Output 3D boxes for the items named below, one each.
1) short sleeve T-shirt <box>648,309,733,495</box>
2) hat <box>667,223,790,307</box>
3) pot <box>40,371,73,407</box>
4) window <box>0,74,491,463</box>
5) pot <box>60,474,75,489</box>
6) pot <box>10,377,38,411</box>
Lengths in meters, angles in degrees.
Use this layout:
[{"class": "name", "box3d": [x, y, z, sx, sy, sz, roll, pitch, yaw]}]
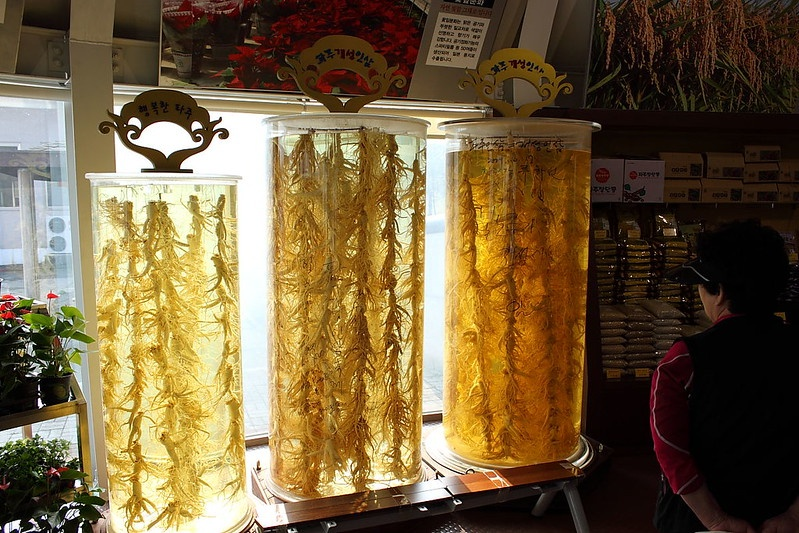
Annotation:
[{"class": "short sleeve T-shirt", "box3d": [0.980, 0.516, 2.204, 0.180, 0.551, 0.424, 2, 18, 19]}, {"class": "hat", "box3d": [1.161, -0.003, 2.182, 0.383, 0.319, 0.152, 1, 4, 29]}, {"class": "pot", "box3d": [-1.350, 0.500, 2.415, 0.125, 0.087, 0.112, -7, -10, 30]}, {"class": "window", "box3d": [-0.688, 0.018, 2.527, 2.206, 1.385, 0.160, -2, 2, -31]}, {"class": "pot", "box3d": [-1.315, 0.859, 2.438, 0.051, 0.044, 0.050, -1, -10, 0]}, {"class": "pot", "box3d": [-1.436, 0.497, 2.372, 0.116, 0.085, 0.117, 0, -1, 0]}]
